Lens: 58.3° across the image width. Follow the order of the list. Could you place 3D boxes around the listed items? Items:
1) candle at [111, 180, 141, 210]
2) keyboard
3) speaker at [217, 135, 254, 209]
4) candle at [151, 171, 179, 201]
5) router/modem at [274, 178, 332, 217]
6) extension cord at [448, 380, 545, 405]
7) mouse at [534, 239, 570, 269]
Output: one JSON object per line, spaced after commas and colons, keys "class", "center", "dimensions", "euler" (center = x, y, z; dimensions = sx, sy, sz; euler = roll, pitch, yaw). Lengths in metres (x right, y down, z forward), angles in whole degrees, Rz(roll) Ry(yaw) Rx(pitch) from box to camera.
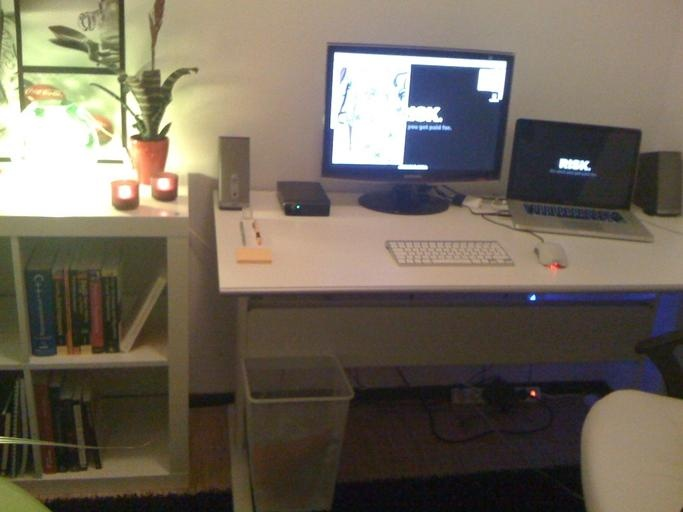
{"class": "candle", "center": [-0.697, -0.199, 1.971], "dimensions": [0.083, 0.093, 0.094], "euler": [4, 16, -5]}
{"class": "keyboard", "center": [0.363, -0.013, 2.054], "dimensions": [0.418, 0.051, 0.148], "euler": [-2, 21, -6]}
{"class": "speaker", "center": [-0.387, -0.304, 2.236], "dimensions": [0.118, 0.260, 0.119], "euler": [-4, 24, -13]}
{"class": "candle", "center": [-0.601, -0.236, 2.083], "dimensions": [0.081, 0.082, 0.093], "euler": [3, 23, 0]}
{"class": "router/modem", "center": [-0.153, -0.251, 2.350], "dimensions": [0.229, 0.134, 0.215], "euler": [-3, 25, -11]}
{"class": "extension cord", "center": [0.695, 0.628, 2.804], "dimensions": [0.258, 0.084, 0.065], "euler": [-1, 29, -5]}
{"class": "mouse", "center": [0.715, -0.021, 2.084], "dimensions": [0.104, 0.066, 0.169], "euler": [4, 21, 9]}
